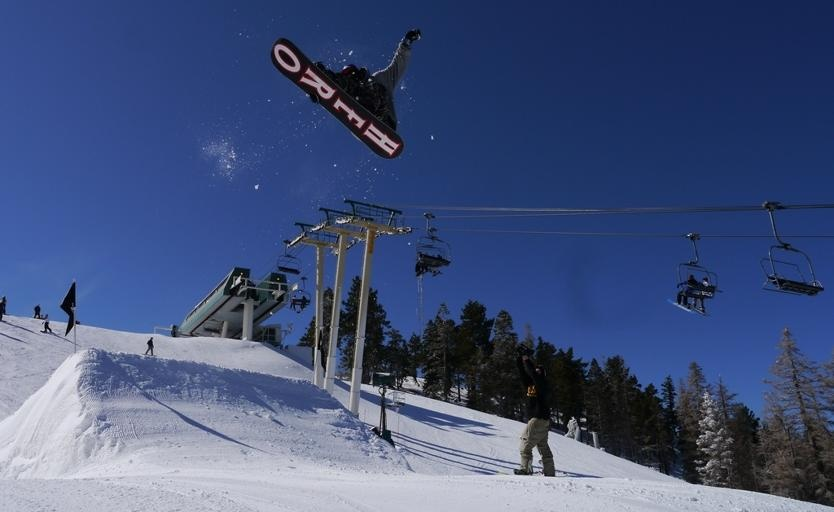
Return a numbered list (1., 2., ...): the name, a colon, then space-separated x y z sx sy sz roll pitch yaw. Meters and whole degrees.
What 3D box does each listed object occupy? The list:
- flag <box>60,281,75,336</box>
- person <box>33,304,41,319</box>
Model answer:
1. flag: -20.980 3.558 43.811 0.975 3.949 0.188 -9 -28 -7
2. person: -35.908 5.330 68.886 0.373 1.135 2.089 1 4 -23
